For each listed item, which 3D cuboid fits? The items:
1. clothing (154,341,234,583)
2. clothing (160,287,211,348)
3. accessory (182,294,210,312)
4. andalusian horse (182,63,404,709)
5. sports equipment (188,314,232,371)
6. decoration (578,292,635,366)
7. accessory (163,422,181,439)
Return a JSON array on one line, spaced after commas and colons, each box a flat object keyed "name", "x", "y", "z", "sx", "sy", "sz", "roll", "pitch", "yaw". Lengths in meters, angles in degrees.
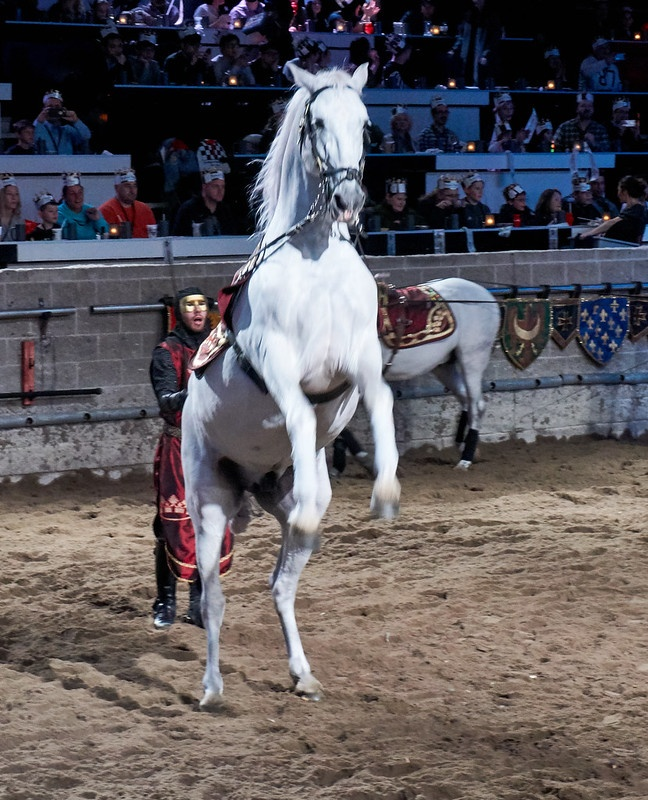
[{"name": "clothing", "x": -0.772, "y": 0.337, "z": 6.403, "sx": 0.419, "sy": 1.334, "sz": 0.867, "roll": 3, "pitch": -13, "yaw": -19}, {"name": "clothing", "x": -0.688, "y": -0.421, "z": 6.433, "sx": 0.272, "sy": 0.335, "sz": 0.212, "roll": -5, "pitch": 5, "yaw": -43}, {"name": "accessory", "x": -0.656, "y": -0.489, "z": 6.237, "sx": 0.116, "sy": 0.071, "sz": 0.105, "roll": -2, "pitch": -10, "yaw": -11}, {"name": "andalusian horse", "x": -0.140, "y": 0.064, "z": 4.966, "sx": 0.646, "sy": 2.769, "sz": 1.143, "roll": -4, "pitch": 11, "yaw": -18}, {"name": "sports equipment", "x": -0.475, "y": -0.226, "z": 5.153, "sx": 0.069, "sy": 0.258, "sz": 0.148, "roll": 35, "pitch": 21, "yaw": -28}, {"name": "decoration", "x": 2.789, "y": -0.671, "z": 12.052, "sx": 0.646, "sy": 0.705, "sz": 0.156, "roll": -7, "pitch": 13, "yaw": -36}, {"name": "accessory", "x": -0.799, "y": 0.163, "z": 6.428, "sx": 0.101, "sy": 0.035, "sz": 0.085, "roll": 24, "pitch": 9, "yaw": 17}]
